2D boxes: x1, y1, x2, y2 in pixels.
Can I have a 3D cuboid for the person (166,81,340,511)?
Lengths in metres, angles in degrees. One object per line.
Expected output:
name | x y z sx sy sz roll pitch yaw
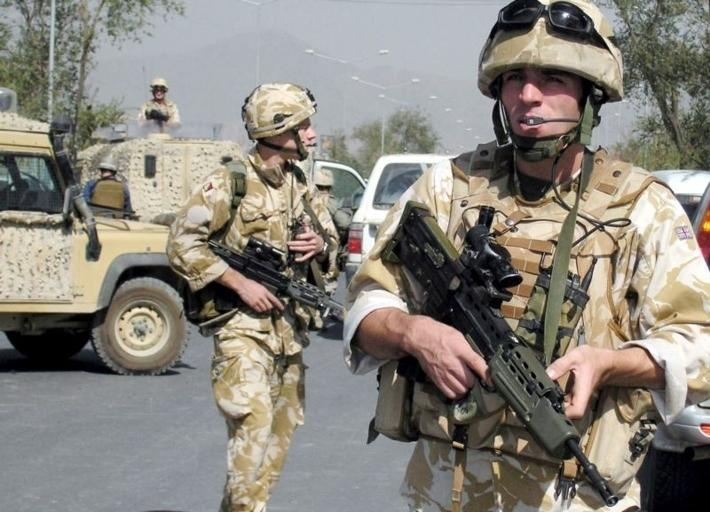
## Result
person | -0.648 0.245 6.569 0.724 2.586 1.135 1 7 21

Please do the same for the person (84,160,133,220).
person | -3.201 -0.671 14.152 0.564 1.191 0.534 2 0 -16

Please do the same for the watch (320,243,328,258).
watch | -0.185 -0.039 6.831 0.024 0.074 0.050 10 15 -3

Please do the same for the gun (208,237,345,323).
gun | -0.509 0.139 6.576 0.651 0.260 0.115 33 -26 -6

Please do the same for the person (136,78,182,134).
person | -4.244 -2.991 23.748 0.655 1.653 0.741 -8 -21 16
